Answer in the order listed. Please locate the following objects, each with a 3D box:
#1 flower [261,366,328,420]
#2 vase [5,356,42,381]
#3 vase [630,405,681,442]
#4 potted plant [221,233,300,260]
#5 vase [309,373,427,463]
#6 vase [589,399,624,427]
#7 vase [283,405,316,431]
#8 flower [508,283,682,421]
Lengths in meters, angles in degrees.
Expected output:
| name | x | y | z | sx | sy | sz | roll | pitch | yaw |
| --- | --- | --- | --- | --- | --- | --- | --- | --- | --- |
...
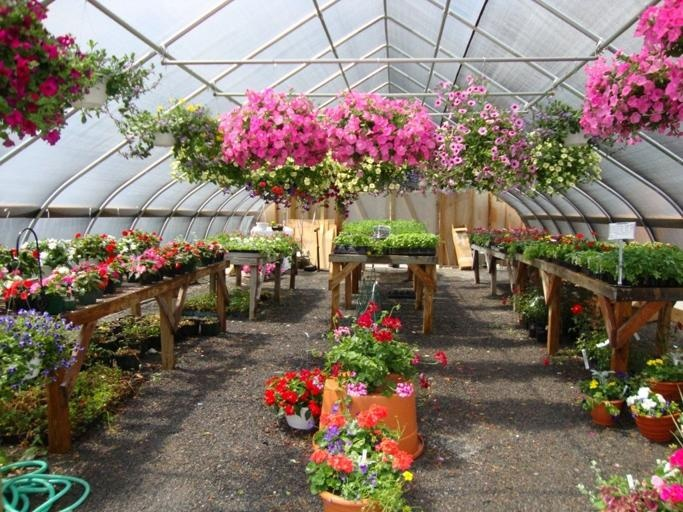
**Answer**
| name | x | y | z | sx | sy | sz | roll | pitch | yaw |
| --- | --- | --- | --- | --- | --- | --- | --- | --- | --- |
| flower | -0.412 | 1.245 | 4.418 | 0.557 | 0.350 | 0.534 | -1 | -10 | 4 |
| vase | -2.134 | 0.757 | 3.091 | 0.170 | 0.081 | 0.173 | 3 | -5 | -16 |
| vase | 2.838 | 1.535 | 4.184 | 0.330 | 0.202 | 0.313 | -4 | 1 | -11 |
| potted plant | -1.642 | -0.143 | 9.038 | 0.977 | 0.440 | 1.865 | 2 | 8 | 13 |
| vase | 0.284 | 1.331 | 3.989 | 0.845 | 0.509 | 0.843 | 32 | -43 | -26 |
| vase | 2.534 | 1.501 | 4.416 | 0.299 | 0.200 | 0.286 | 0 | -7 | 6 |
| vase | -0.370 | 1.524 | 4.269 | 0.269 | 0.177 | 0.255 | 0 | -7 | -9 |
| flower | 3.100 | 0.868 | 5.381 | 1.310 | 1.125 | 1.930 | 0 | 4 | -3 |
